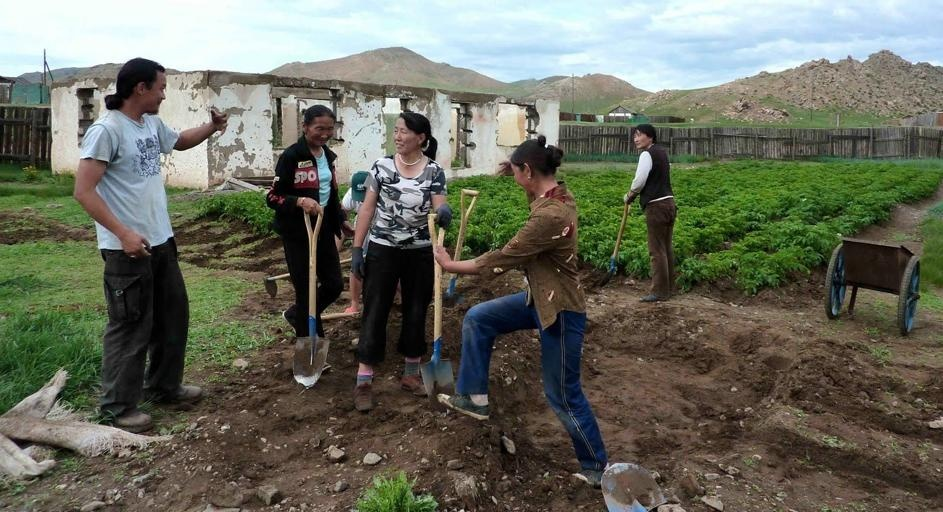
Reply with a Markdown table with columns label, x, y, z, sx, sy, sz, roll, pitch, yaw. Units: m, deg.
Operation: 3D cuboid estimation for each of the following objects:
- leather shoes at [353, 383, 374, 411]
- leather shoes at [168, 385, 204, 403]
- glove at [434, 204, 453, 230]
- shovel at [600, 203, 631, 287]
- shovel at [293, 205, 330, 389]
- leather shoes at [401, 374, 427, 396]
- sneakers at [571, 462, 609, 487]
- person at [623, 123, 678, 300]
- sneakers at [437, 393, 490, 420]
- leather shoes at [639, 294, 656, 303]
| label | x | y | z | sx | sy | sz | roll | pitch | yaw |
| --- | --- | --- | --- | --- | --- | --- | --- | --- | --- |
| leather shoes | -1.393 | 1.814 | 7.777 | 0.251 | 0.312 | 0.241 | -3 | 13 | -9 |
| leather shoes | -3.770 | 1.806 | 7.937 | 0.403 | 0.161 | 0.169 | -6 | 35 | -17 |
| glove | -0.355 | -0.503 | 7.718 | 0.116 | 0.282 | 0.236 | -10 | 3 | 2 |
| shovel | 2.992 | -0.170 | 12.516 | 0.356 | 2.277 | 0.360 | 30 | -35 | -6 |
| shovel | -2.168 | 0.577 | 8.113 | 0.451 | 2.277 | 0.837 | 1 | 14 | 5 |
| leather shoes | -0.782 | 1.742 | 8.098 | 0.396 | 0.144 | 0.179 | 7 | 7 | 29 |
| sneakers | 1.401 | 2.590 | 7.153 | 0.542 | 0.194 | 0.189 | 6 | -8 | -31 |
| person | 3.313 | -0.800 | 10.958 | 0.975 | 3.134 | 1.032 | 0 | 14 | 2 |
| sneakers | -0.051 | 1.836 | 7.517 | 0.750 | 0.256 | 0.256 | 17 | -4 | 3 |
| leather shoes | 3.192 | 0.769 | 10.892 | 0.260 | 0.090 | 0.131 | 3 | 5 | 6 |
